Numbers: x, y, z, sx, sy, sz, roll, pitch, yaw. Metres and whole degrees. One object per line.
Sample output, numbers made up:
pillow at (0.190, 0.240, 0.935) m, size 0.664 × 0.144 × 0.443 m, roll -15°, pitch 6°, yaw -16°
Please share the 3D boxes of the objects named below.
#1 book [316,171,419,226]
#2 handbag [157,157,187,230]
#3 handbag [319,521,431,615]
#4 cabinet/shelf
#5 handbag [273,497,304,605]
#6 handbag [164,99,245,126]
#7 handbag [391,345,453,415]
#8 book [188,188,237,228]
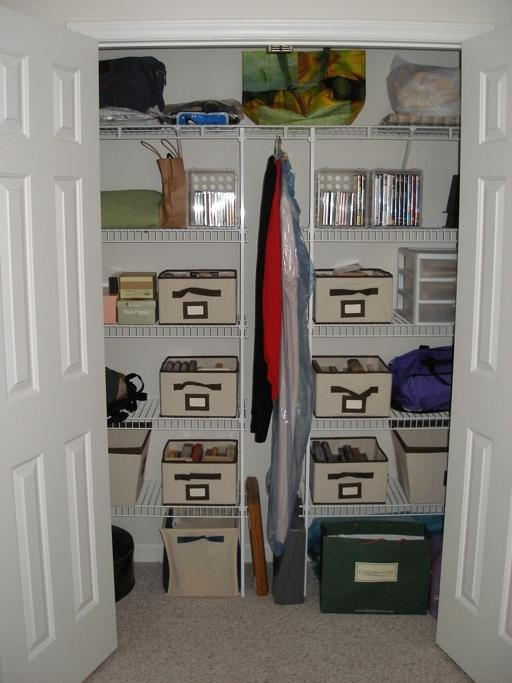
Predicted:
book at (0.467, -0.592, 2.532) m, size 0.432 × 0.231 × 0.066 m, roll 1°, pitch 8°, yaw 2°
handbag at (-0.338, -0.590, 2.462) m, size 0.094 × 0.258 × 0.212 m, roll 0°, pitch 31°, yaw -5°
handbag at (0.510, 0.981, 2.651) m, size 0.449 × 0.356 × 0.239 m, roll 0°, pitch -8°, yaw 6°
cabinet/shelf at (0.076, 0.054, 2.561) m, size 1.829 × 1.896 × 0.645 m, roll -1°, pitch 11°, yaw -5°
handbag at (0.135, 0.895, 2.587) m, size 0.146 × 0.459 × 0.418 m, roll 0°, pitch -9°, yaw 0°
handbag at (-0.222, -0.960, 2.528) m, size 0.322 × 0.121 × 0.186 m, roll -1°, pitch 9°, yaw -6°
handbag at (0.703, 0.176, 2.639) m, size 0.252 × 0.239 × 0.233 m, roll 2°, pitch 9°, yaw 12°
book at (-0.181, -0.540, 2.512) m, size 0.163 × 0.169 × 0.042 m, roll -2°, pitch 11°, yaw 3°
